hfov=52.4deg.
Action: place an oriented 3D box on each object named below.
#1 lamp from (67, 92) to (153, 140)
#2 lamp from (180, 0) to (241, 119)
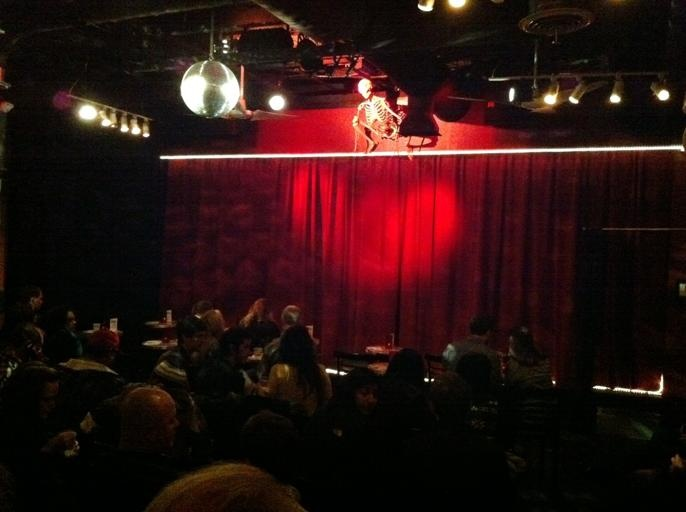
[{"bbox_3d":[-2.775,-1.663,8.381,0.437,0.215,1.086,22,5,44],"label":"lamp"},{"bbox_3d":[-1.090,-1.639,5.879,0.456,0.884,1.262,5,0,-10],"label":"lamp"}]
